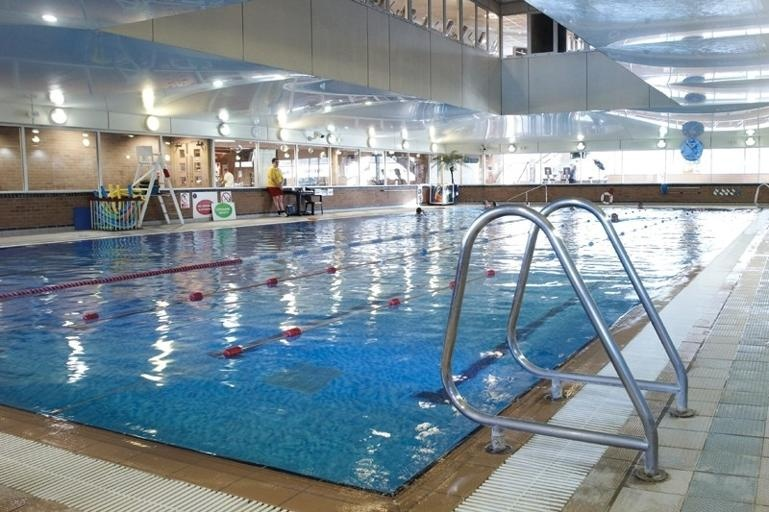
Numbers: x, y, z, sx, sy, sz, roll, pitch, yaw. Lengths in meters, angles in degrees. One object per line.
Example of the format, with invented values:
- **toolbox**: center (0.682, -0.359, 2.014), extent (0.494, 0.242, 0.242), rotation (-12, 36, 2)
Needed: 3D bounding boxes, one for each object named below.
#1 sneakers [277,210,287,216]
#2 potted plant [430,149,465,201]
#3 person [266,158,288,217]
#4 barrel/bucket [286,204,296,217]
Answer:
- **sneakers**: center (-4.020, -1.669, 19.175), extent (0.254, 0.167, 0.565), rotation (-3, 3, -44)
- **potted plant**: center (3.986, -4.676, 28.488), extent (1.691, 2.915, 1.771), rotation (-7, 12, -22)
- **person**: center (-4.336, -2.746, 19.285), extent (0.642, 2.173, 1.269), rotation (-5, 11, -10)
- **barrel/bucket**: center (-3.587, -1.802, 19.240), extent (0.578, 0.447, 0.452), rotation (-2, 7, -7)
